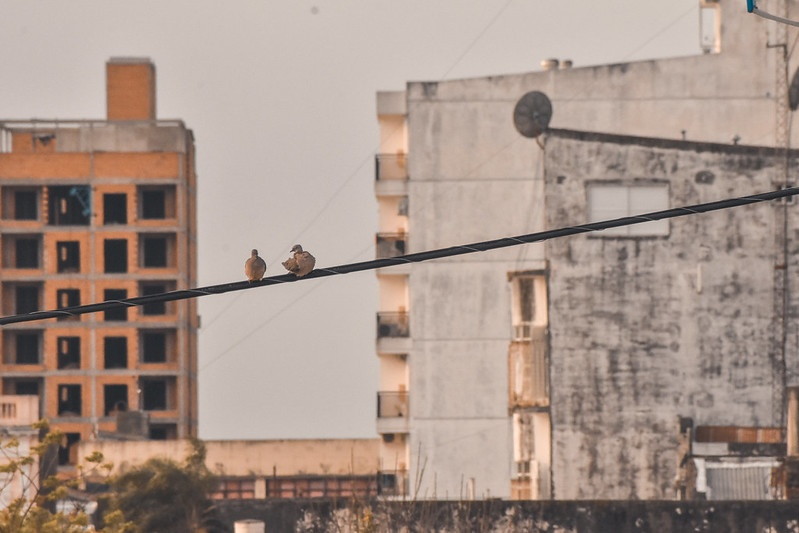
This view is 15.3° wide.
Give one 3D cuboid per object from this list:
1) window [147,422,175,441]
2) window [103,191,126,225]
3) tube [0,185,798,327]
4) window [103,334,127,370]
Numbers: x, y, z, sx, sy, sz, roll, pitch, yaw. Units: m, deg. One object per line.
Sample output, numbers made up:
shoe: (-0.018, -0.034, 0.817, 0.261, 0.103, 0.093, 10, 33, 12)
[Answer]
window: (-12.368, 8.526, 154.483, 1.593, 1.370, 0.825, -1, 4, 6)
window: (-15.131, -3.205, 156.974, 1.693, 1.419, 0.377, 7, 8, 11)
tube: (3.172, -0.559, 147.024, 44.460, 1.434, 0.836, -9, 0, -3)
window: (-14.915, 4.448, 155.556, 1.282, 1.823, 0.644, -3, -38, -1)
